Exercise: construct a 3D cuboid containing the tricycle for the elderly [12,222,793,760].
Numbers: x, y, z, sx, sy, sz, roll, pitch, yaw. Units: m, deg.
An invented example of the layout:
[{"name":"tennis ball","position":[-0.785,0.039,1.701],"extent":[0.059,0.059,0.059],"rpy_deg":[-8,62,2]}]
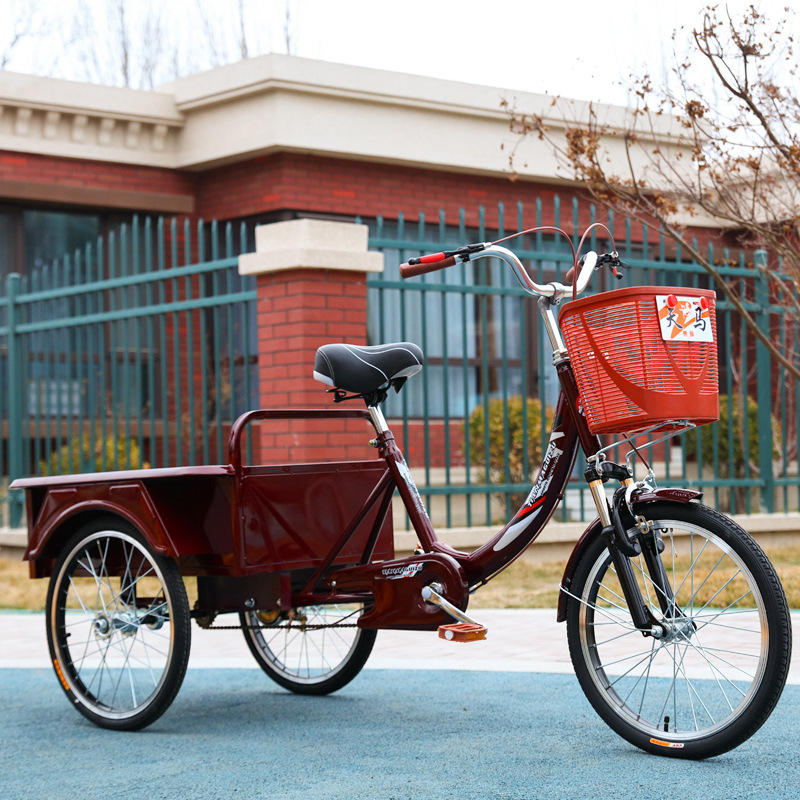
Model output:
[{"name":"tricycle for the elderly","position":[0.101,0.506,5.813],"extent":[3.241,2.293,1.690],"rpy_deg":[-3,-4,33]}]
